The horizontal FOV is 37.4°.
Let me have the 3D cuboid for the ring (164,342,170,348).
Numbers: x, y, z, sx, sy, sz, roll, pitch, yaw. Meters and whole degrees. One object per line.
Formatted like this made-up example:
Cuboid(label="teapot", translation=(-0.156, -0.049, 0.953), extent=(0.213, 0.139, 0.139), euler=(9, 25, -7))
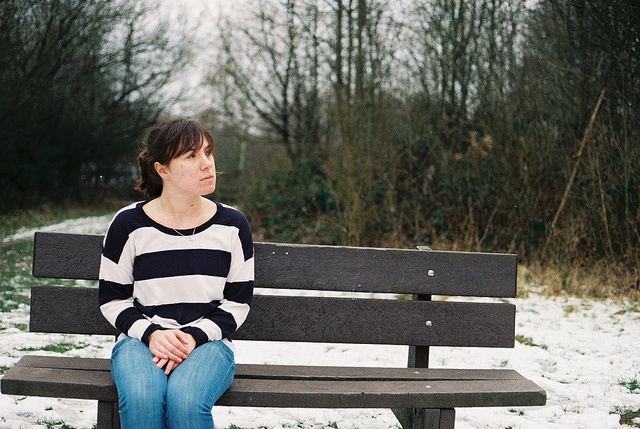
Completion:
Cuboid(label="ring", translation=(-1.332, 1.130, 8.201), extent=(0.011, 0.035, 0.036), euler=(38, 9, -22))
